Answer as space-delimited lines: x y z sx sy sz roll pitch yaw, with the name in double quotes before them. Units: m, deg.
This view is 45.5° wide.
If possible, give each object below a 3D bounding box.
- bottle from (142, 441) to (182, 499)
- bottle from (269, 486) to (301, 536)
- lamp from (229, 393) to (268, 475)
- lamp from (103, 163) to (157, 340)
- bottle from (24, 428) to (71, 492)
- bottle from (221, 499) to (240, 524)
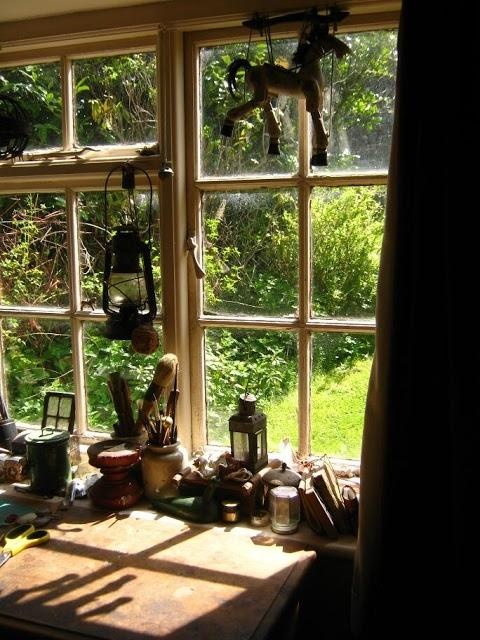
"bottle" -0.224 0.422 1.648 0.127 0.144 0.135 1 6 14
"bottle" 0.114 0.490 1.467 0.067 0.094 0.072 0 -4 0
"lamp" 0.021 0.314 1.609 0.089 0.210 0.100 1 5 20
"lamp" -0.322 -0.191 1.660 0.147 0.528 0.331 -1 5 -11
"bottle" -0.567 0.413 1.706 0.132 0.191 0.116 2 12 2
"bottle" -0.029 0.500 1.503 0.047 0.051 0.048 -3 13 -8
